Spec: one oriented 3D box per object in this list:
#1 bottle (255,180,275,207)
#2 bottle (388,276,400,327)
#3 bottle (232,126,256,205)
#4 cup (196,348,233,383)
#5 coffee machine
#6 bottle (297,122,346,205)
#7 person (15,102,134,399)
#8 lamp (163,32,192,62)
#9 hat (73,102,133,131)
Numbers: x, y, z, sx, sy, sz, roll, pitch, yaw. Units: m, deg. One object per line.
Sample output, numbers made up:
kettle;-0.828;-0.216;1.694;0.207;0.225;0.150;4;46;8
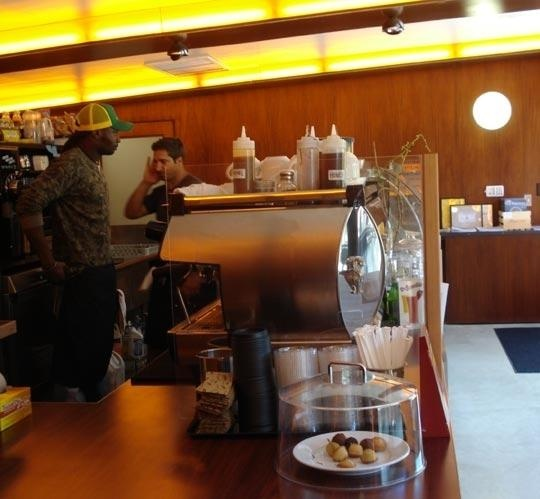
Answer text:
bottle;-0.015;-0.182;1.547;0.062;0.086;0.070;-2;8;-8
bottle;0.351;0.148;1.358;0.031;0.125;0.067;-1;4;14
bottle;-0.086;-0.267;1.522;0.073;0.174;0.063;-3;4;-5
cup;-0.128;0.267;1.162;0.073;0.090;0.081;0;4;16
coffee machine;0.052;0.053;1.421;0.549;0.486;0.472;-1;-4;11
bottle;0.160;-0.268;1.488;0.162;0.173;0.125;-1;4;24
person;-1.064;0.043;2.715;0.547;1.752;0.495;-2;4;-3
lamp;-0.713;-1.572;3.692;0.180;0.247;0.130;0;-21;6
hat;-0.967;-0.800;2.741;0.267;0.166;0.184;-9;20;-20
